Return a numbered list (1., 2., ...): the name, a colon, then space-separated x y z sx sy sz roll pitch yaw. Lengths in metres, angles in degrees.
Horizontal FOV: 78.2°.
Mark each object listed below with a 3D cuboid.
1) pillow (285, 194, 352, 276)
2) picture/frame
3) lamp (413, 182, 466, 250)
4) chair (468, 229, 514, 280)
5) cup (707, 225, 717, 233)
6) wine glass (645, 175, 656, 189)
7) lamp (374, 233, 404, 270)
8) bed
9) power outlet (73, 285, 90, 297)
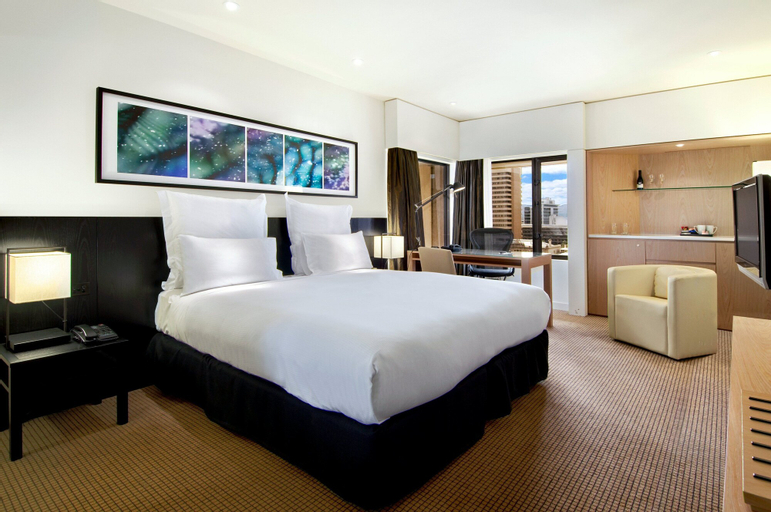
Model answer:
1. pillow: -0.726 -0.182 4.979 0.837 0.853 0.302 0 -9 -45
2. picture/frame: -1.523 -1.063 4.773 2.476 0.963 0.128 -8 8 -39
3. lamp: 0.756 -0.586 6.738 0.657 0.845 1.305 -2 6 7
4. chair: 1.466 -0.020 6.480 0.607 0.955 0.671 -1 -3 24
5. cup: 4.033 -0.327 5.871 0.079 0.099 0.171 1 7 38
6. wine glass: 3.552 -0.991 6.337 0.145 0.163 0.151 -2 8 17
7. lamp: 0.059 -0.033 5.924 0.349 0.467 0.505 1 7 35
8. bed: -0.445 0.782 3.413 1.737 0.578 1.864 4 5 35
9. power outlet: -2.504 0.292 3.889 0.086 0.055 0.089 3 5 38
